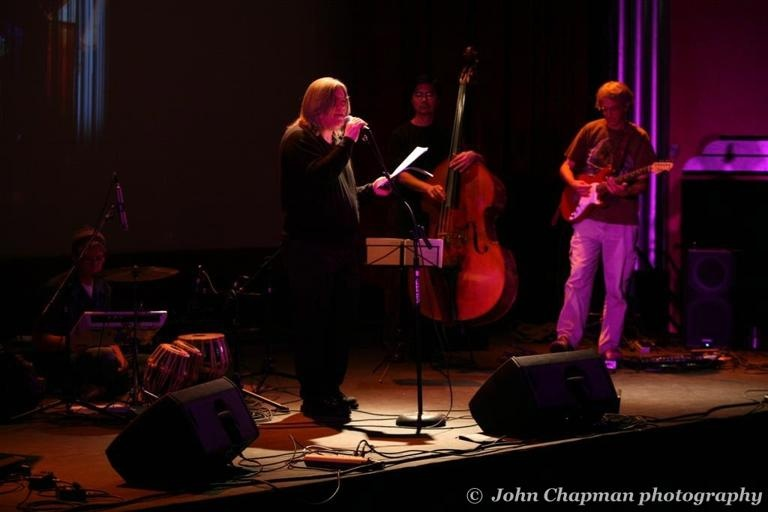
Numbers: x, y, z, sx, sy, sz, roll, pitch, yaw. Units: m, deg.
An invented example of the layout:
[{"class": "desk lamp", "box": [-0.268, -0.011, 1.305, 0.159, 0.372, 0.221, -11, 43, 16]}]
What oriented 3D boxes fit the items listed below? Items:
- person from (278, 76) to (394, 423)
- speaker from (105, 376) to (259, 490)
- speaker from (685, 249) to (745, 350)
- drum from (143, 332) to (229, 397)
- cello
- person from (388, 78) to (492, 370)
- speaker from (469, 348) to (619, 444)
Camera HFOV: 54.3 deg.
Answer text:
[{"class": "person", "box": [-0.498, -0.051, 5.842, 0.626, 2.632, 0.618, -2, 8, -9]}, {"class": "speaker", "box": [-1.353, 1.146, 5.058, 0.722, 0.548, 0.793, 0, -4, 18]}, {"class": "speaker", "box": [3.495, 0.461, 8.052, 0.513, 1.027, 0.212, 2, 9, 18]}, {"class": "drum", "box": [-1.623, 0.828, 6.019, 0.410, 0.341, 0.618, 12, 15, 38]}, {"class": "cello", "box": [0.755, -0.632, 6.855, 0.879, 2.525, 0.583, 1, 8, 6]}, {"class": "person", "box": [0.556, -0.335, 7.483, 1.117, 2.672, 0.420, -3, -9, 32]}, {"class": "speaker", "box": [1.102, 0.895, 5.521, 0.816, 0.499, 0.692, 1, -2, -33]}]
